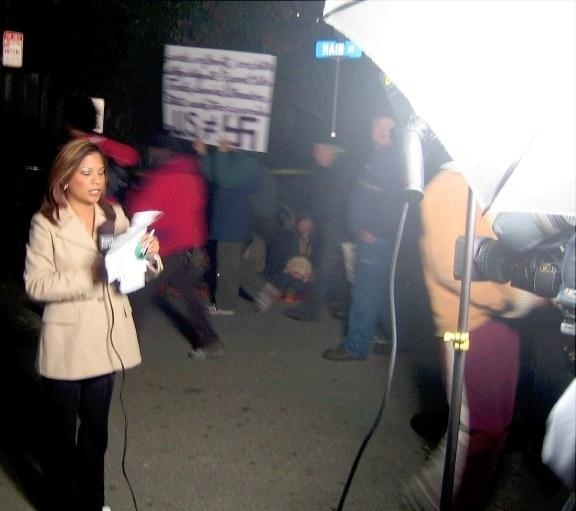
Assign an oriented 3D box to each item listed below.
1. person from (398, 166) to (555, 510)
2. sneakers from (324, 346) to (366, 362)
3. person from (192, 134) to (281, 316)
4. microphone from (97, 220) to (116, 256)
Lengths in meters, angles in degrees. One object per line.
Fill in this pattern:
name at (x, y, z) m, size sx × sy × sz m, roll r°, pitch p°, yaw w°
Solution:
person at (0.698, 0.387, 1.689) m, size 0.523 × 1.412 × 0.268 m, roll 9°, pitch 13°, yaw 25°
sneakers at (0.279, 0.473, 2.137) m, size 0.149 × 0.073 × 0.088 m, roll 7°, pitch -3°, yaw -1°
person at (-0.264, -0.165, 2.251) m, size 0.471 × 0.786 × 0.281 m, roll 16°, pitch 33°, yaw 1°
microphone at (-0.615, -0.061, 1.507) m, size 0.057 × 0.107 × 0.056 m, roll -2°, pitch 13°, yaw -24°
